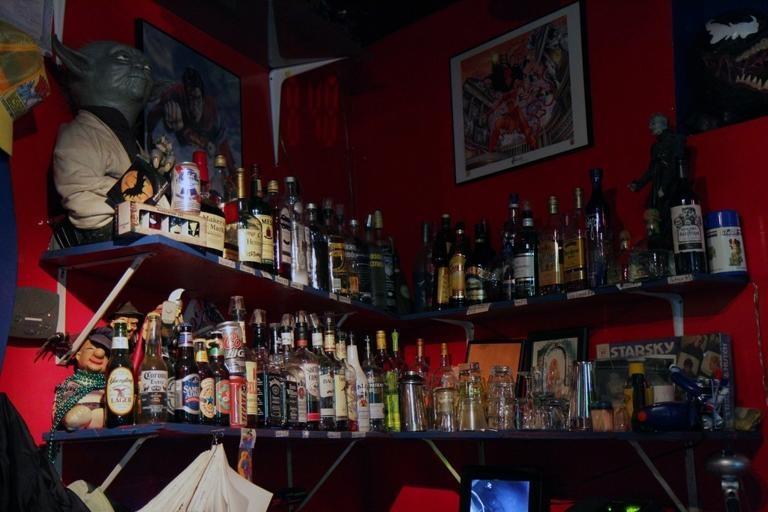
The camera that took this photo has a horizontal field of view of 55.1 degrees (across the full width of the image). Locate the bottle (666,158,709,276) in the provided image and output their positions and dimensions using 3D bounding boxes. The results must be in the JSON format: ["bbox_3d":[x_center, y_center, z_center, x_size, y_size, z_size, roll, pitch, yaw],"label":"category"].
[{"bbox_3d":[1.346,-0.160,3.264,0.139,0.535,0.224,-6,-16,22],"label":"bottle"}]

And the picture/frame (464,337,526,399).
[{"bbox_3d":[0.562,0.558,3.624,0.258,0.249,0.027,-7,-23,32],"label":"picture/frame"}]

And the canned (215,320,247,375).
[{"bbox_3d":[-0.617,0.382,2.971,0.123,0.221,0.123,-8,-16,-6],"label":"canned"}]

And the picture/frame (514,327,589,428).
[{"bbox_3d":[0.801,0.580,3.450,0.353,0.650,0.048,-17,-50,31],"label":"picture/frame"}]

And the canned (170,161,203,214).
[{"bbox_3d":[-0.778,-0.266,2.891,0.113,0.192,0.113,-1,0,-15],"label":"canned"}]

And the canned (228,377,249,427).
[{"bbox_3d":[-0.567,0.575,2.908,0.045,0.198,0.126,-7,-16,26],"label":"canned"}]

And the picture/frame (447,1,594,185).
[{"bbox_3d":[0.765,-0.858,3.945,0.998,0.942,0.040,-8,-9,38],"label":"picture/frame"}]

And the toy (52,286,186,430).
[{"bbox_3d":[-1.009,0.404,2.781,0.296,0.614,0.250,19,-18,-12],"label":"toy"}]

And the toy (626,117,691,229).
[{"bbox_3d":[1.285,-0.374,3.407,0.202,0.668,0.301,15,-24,-6],"label":"toy"}]

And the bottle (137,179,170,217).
[{"bbox_3d":[-0.886,-0.253,2.891,0.027,0.118,0.098,-10,-18,35],"label":"bottle"}]
